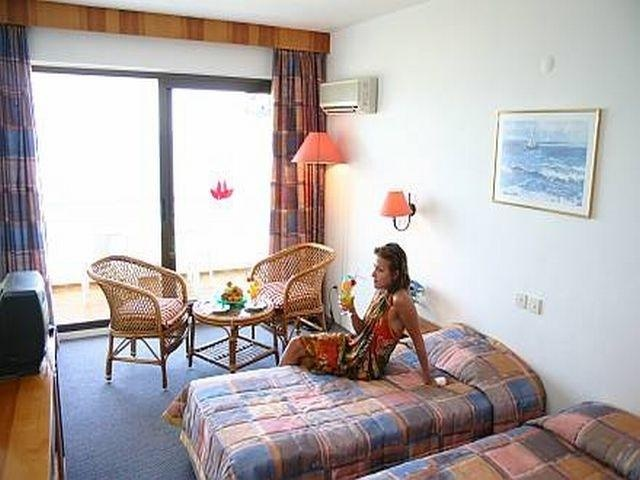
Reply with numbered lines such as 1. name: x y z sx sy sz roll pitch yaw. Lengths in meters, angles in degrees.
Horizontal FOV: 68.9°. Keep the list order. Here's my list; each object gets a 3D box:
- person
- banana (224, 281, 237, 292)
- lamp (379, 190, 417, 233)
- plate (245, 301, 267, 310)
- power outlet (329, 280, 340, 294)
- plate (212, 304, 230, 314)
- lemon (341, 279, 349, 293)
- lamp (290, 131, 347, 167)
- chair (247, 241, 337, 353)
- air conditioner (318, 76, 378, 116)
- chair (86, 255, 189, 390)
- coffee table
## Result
1. person: 0.278 0.592 3.489 1.237 1.152 0.512 2 -5 1
2. banana: -0.829 0.438 4.335 0.088 0.095 0.025 16 7 7
3. lamp: 0.732 -0.253 4.221 0.312 0.410 0.365 -2 1 32
4. plate: -0.586 0.604 4.314 0.206 0.057 0.223 -2 11 -8
5. power outlet: 0.172 0.562 5.513 0.101 0.111 0.078 -7 -14 39
6. plate: -0.899 0.620 4.231 0.158 0.045 0.170 -3 11 -10
7. lemon: 0.193 0.341 3.424 0.074 0.084 0.066 0 8 6
8. lamp: 0.035 -1.022 5.143 0.487 0.361 0.644 4 12 23
9. chair: -0.363 0.434 5.166 0.969 1.387 0.969 -5 10 -37
10. air conditioner: 0.268 -1.547 4.986 0.221 0.379 0.744 -16 21 -39
11. chair: -1.677 0.736 4.414 0.797 1.115 0.859 3 8 9
12. coffee table: -0.820 0.947 4.481 0.740 0.682 0.792 -7 13 -39
